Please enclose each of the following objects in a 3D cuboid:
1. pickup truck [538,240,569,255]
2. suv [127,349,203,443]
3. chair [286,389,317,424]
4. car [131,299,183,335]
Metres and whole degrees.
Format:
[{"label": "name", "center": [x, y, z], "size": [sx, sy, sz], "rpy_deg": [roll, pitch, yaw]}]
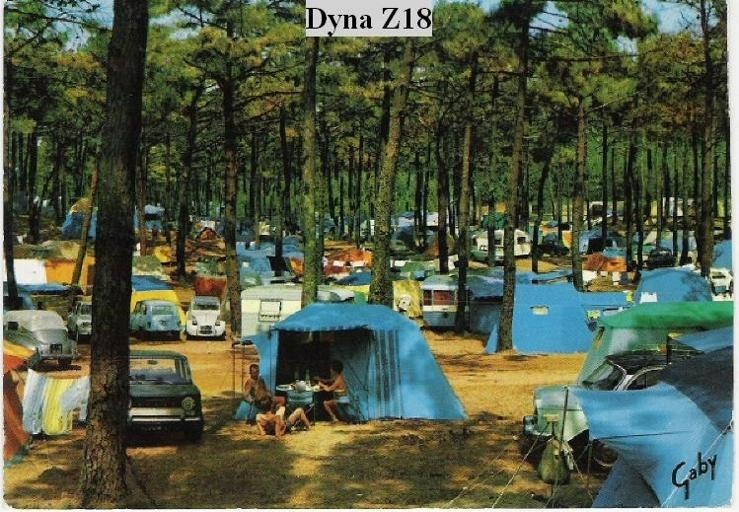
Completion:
[{"label": "pickup truck", "center": [11.280, -0.710, 69.346], "size": [1.154, 0.617, 1.181], "rpy_deg": [0, -2, 25]}, {"label": "suv", "center": [-6.268, 4.296, 34.336], "size": [2.304, 2.692, 3.827], "rpy_deg": [-1, 5, -7]}, {"label": "chair", "center": [-2.185, 4.737, 35.076], "size": [0.906, 1.021, 0.875], "rpy_deg": [-1, 3, -43]}, {"label": "car", "center": [-9.024, 2.612, 46.807], "size": [1.904, 1.558, 1.951], "rpy_deg": [-2, 5, -22]}]
